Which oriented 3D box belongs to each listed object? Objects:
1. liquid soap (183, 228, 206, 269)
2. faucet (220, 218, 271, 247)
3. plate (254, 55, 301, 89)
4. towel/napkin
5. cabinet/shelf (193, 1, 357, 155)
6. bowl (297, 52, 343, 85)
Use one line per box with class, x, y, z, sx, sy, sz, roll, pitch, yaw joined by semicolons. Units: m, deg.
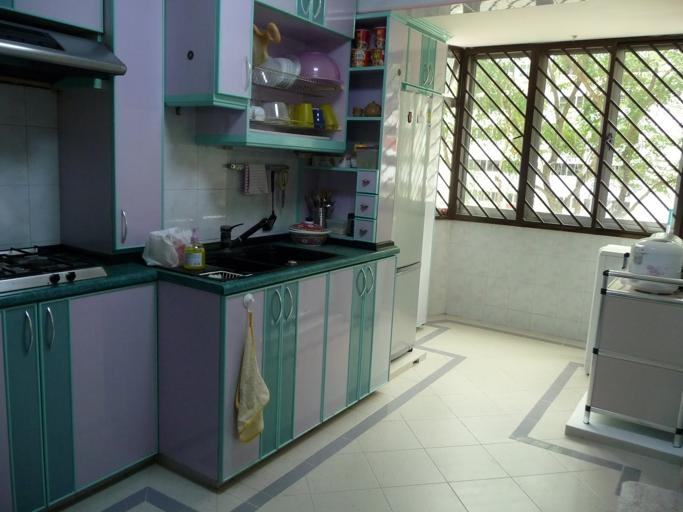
liquid soap;-0.831;-0.035;2.957;0.108;0.178;0.246;-2;15;-17
faucet;-0.625;-0.148;3.433;0.301;0.113;0.165;-4;3;25
plate;-0.403;-1.148;3.333;0.107;0.177;0.337;14;18;38
towel/napkin;-0.474;0.642;2.781;0.165;0.721;0.166;0;14;-11
cabinet/shelf;-0.434;-1.121;3.310;0.347;0.915;1.088;4;7;31
bowl;-0.155;-1.284;3.685;0.300;0.125;0.299;5;29;-3
